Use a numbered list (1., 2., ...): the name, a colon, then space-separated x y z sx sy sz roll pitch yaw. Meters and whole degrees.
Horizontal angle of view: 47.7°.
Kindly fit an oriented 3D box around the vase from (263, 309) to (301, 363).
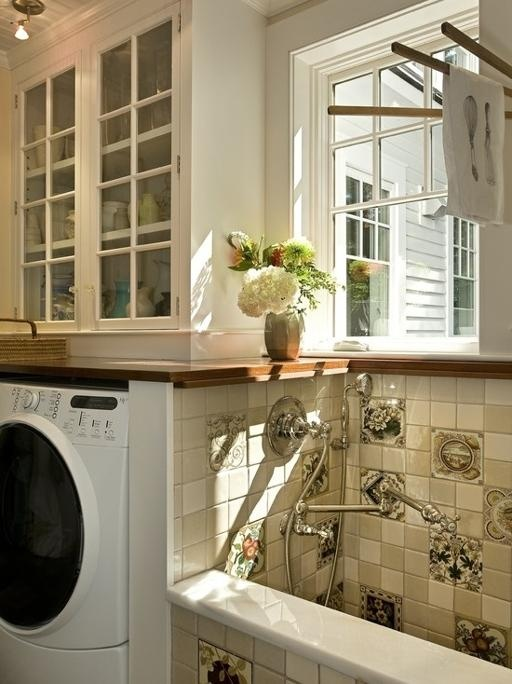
1. vase: 0.089 -0.023 1.769 0.119 0.152 0.114 -5 9 -20

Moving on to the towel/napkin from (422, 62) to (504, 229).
1. towel/napkin: 0.470 -0.416 1.252 0.237 0.305 0.041 -7 9 -42

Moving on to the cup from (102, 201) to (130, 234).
1. cup: -0.526 -0.464 2.155 0.084 0.136 0.132 2 4 21

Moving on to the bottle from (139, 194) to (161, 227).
1. bottle: -0.373 -0.462 2.006 0.018 0.106 0.114 -6 9 -41
